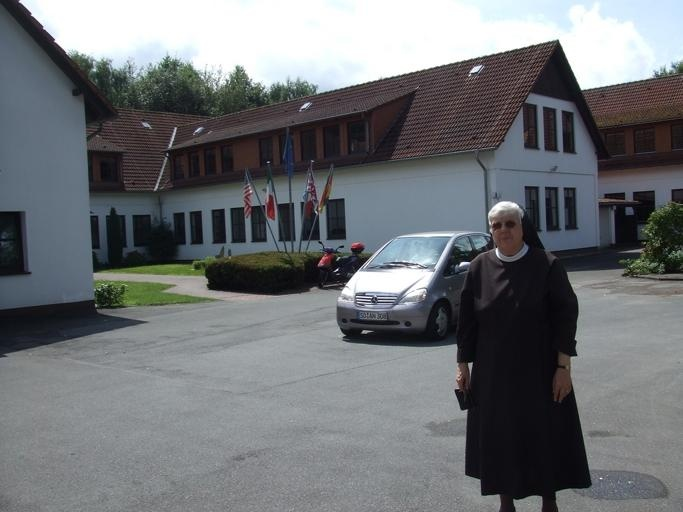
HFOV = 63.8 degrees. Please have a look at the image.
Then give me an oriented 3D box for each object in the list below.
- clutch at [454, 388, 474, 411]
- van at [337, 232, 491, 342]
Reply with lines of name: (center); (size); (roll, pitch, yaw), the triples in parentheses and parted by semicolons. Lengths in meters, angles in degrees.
clutch: (0.935, 1.068, 4.133); (0.120, 0.165, 0.047); (-23, -18, 27)
van: (1.732, 0.583, 11.595); (1.792, 1.509, 3.070); (-2, -2, 32)
